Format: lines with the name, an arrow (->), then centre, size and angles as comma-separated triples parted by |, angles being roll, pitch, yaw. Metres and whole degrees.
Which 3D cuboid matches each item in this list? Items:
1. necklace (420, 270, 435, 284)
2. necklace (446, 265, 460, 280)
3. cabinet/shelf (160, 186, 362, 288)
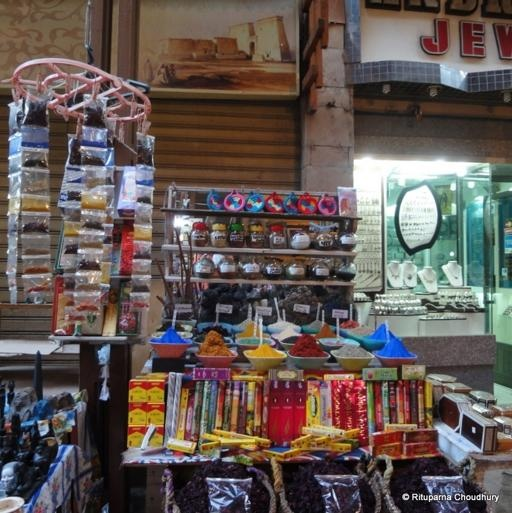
necklace -> 1.657, 0.179, 6.523 | 0.160, 0.162, 0.100 | 2, -5, 3
necklace -> 1.954, 0.146, 6.620 | 0.152, 0.188, 0.111 | 0, -1, -3
cabinet/shelf -> 0.078, -0.085, 5.321 | 1.462, 0.527, 0.873 | 3, -7, 4
